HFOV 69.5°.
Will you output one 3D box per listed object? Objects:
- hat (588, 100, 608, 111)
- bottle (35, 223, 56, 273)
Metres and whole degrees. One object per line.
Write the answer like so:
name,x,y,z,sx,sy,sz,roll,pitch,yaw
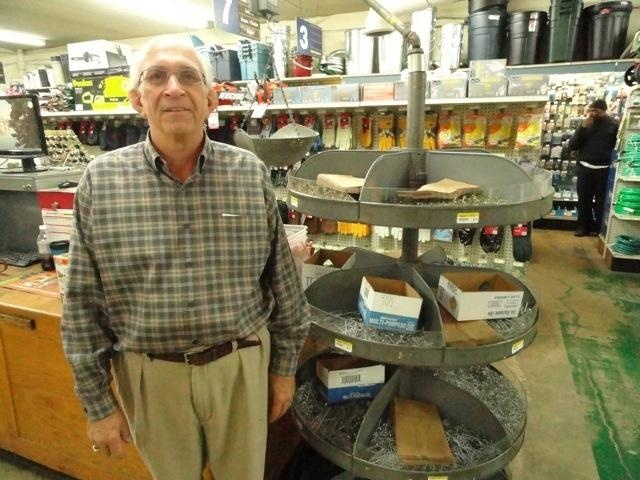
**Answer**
hat,3.663,-1.806,6.125,0.189,0.139,0.132,-3,-13,14
bottle,-1.857,0.046,3.130,0.082,0.300,0.243,-13,20,-30
